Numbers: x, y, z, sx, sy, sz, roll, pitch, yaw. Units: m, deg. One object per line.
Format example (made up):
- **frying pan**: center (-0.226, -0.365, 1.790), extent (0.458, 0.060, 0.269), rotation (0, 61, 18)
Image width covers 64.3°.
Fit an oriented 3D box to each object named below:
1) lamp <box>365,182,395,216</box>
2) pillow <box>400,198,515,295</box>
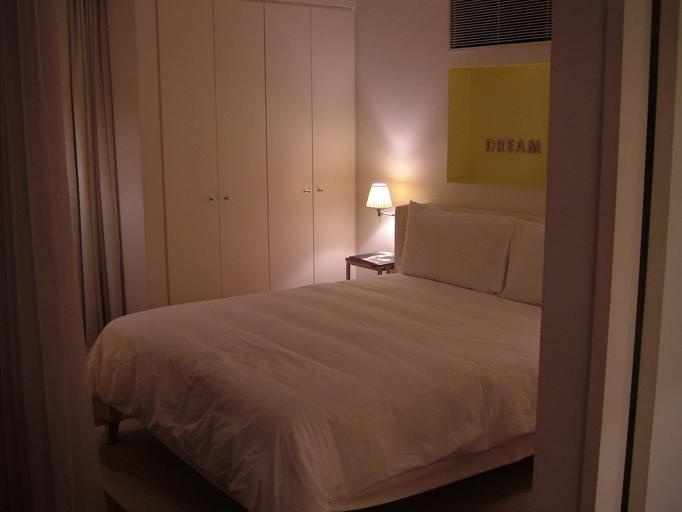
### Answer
- **lamp**: center (0.358, -0.503, 4.834), extent (0.191, 0.313, 0.202), rotation (-12, 35, -20)
- **pillow**: center (0.829, -0.073, 3.942), extent (0.883, 0.573, 0.265), rotation (10, -10, 37)
